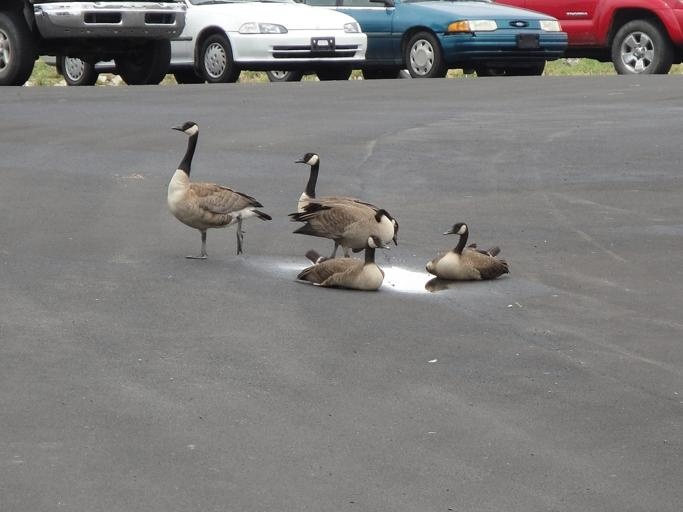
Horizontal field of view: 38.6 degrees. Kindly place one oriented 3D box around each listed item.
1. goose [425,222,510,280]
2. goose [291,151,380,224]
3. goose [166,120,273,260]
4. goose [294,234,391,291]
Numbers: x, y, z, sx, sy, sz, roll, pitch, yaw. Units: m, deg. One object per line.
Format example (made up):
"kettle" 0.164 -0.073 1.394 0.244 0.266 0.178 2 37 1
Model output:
"goose" 0.978 -0.042 7.271 0.476 0.436 0.648 8 13 44
"goose" -0.046 -0.542 8.337 0.910 0.688 0.320 2 33 -26
"goose" -0.957 -0.372 7.576 0.681 0.782 0.834 0 21 -4
"goose" 0.010 0.044 6.974 0.689 0.462 0.436 13 19 35
